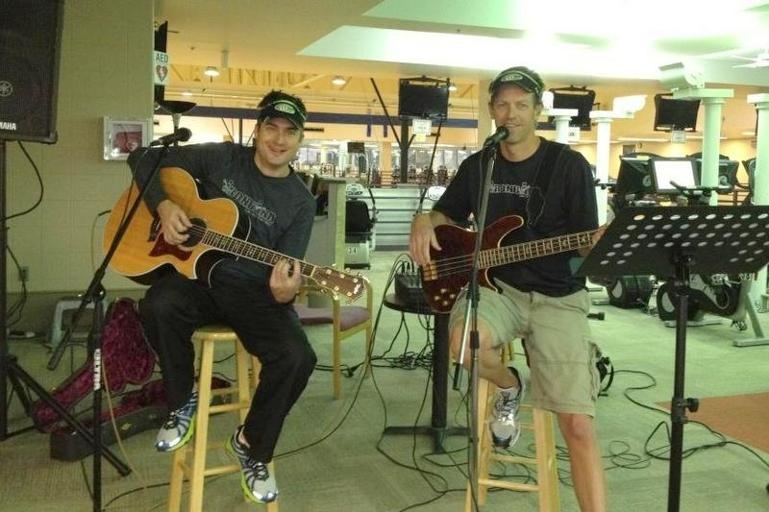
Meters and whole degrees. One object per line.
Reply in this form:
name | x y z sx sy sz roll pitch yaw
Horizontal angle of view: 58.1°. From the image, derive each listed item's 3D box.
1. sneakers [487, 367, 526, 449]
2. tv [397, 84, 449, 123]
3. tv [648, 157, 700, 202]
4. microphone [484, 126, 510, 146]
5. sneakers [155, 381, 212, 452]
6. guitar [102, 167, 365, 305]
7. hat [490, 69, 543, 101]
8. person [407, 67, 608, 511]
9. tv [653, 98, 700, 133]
sneakers | 0.737 0.895 4.166 0.193 0.491 0.218 4 -12 25
tv | 0.661 -2.628 11.784 1.052 0.679 0.143 3 7 -9
tv | 2.962 -0.800 7.090 0.520 0.457 0.160 7 -26 -10
microphone | 0.615 -0.653 3.776 0.075 0.070 0.234 20 36 37
sneakers | -1.167 0.982 3.966 0.189 0.490 0.222 21 -34 2
guitar | -0.978 -0.042 4.116 1.683 0.681 0.224 22 -5 5
hat | 0.776 -0.990 4.015 0.208 0.103 0.236 7 15 22
person | 0.790 0.084 4.035 1.338 2.380 0.796 6 10 34
tv | 4.419 -2.189 10.534 0.593 0.591 0.645 3 8 19
